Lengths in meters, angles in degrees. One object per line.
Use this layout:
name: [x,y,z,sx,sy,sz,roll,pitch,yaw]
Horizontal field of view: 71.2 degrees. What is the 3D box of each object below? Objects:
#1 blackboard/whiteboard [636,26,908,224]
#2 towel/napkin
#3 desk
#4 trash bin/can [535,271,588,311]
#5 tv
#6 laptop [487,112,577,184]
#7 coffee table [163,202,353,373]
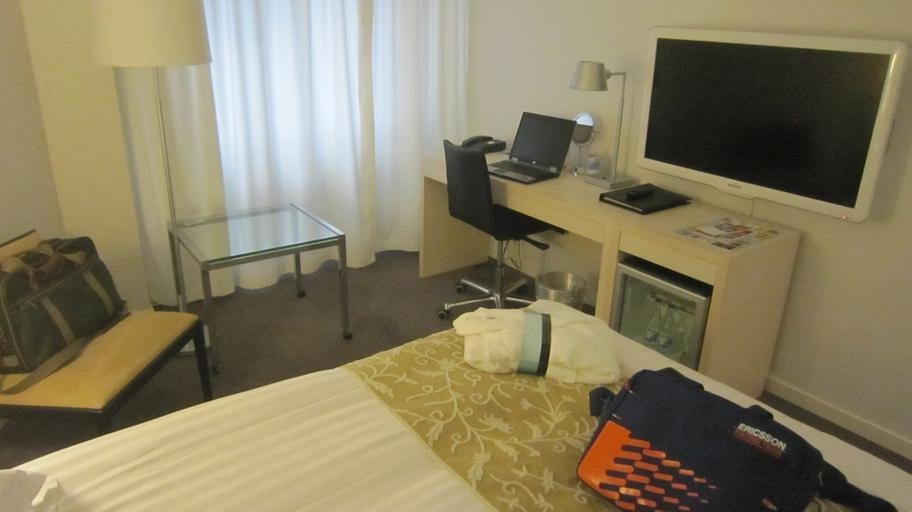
blackboard/whiteboard: [1.883,-0.772,3.703,1.199,0.788,0.128,23,27,32]
towel/napkin: [0.413,0.440,3.211,0.544,0.148,0.467,2,25,2]
desk: [1.021,0.083,3.851,0.509,0.719,1.644,-16,31,-31]
trash bin/can: [0.736,0.221,4.585,0.298,0.226,0.336,-5,15,-17]
tv: [1.880,-0.783,3.705,1.208,0.801,0.119,24,28,33]
laptop: [0.589,-0.797,4.653,0.620,0.413,0.618,-22,37,-37]
coffee table: [-1.407,0.243,4.452,1.208,0.817,1.121,-15,36,-27]
